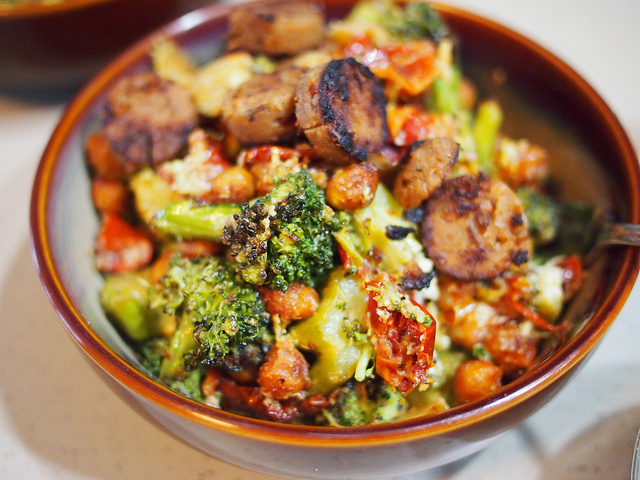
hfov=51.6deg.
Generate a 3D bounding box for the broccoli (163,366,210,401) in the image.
[{"bbox_3d":[-0.341,0.369,1.694,0.102,0.040,0.083,12,36,1],"label":"broccoli"}]

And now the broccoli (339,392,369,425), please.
[{"bbox_3d":[0.090,0.419,1.628,0.044,0.024,0.062,4,63,-2],"label":"broccoli"}]

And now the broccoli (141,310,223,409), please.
[{"bbox_3d":[-0.365,0.325,1.732,0.187,0.066,0.269,-17,73,38],"label":"broccoli"}]

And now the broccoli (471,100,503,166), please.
[{"bbox_3d":[0.500,-0.339,2.033,0.065,0.066,0.266,10,100,5],"label":"broccoli"}]

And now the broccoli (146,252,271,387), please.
[{"bbox_3d":[-0.272,0.200,1.786,0.307,0.310,0.321,37,66,0],"label":"broccoli"}]

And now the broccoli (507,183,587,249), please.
[{"bbox_3d":[0.646,-0.053,1.931,0.226,0.070,0.144,35,58,15],"label":"broccoli"}]

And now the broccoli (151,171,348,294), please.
[{"bbox_3d":[-0.185,-0.022,1.668,0.361,0.210,0.307,7,95,14],"label":"broccoli"}]

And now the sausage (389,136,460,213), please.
[{"bbox_3d":[0.265,-0.179,1.752,0.048,0.233,0.170,40,56,-31],"label":"sausage"}]

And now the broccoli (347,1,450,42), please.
[{"bbox_3d":[0.239,-0.690,2.072,0.260,0.154,0.066,24,86,49],"label":"broccoli"}]

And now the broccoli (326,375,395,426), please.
[{"bbox_3d":[0.110,0.403,1.645,0.136,0.044,0.116,-2,58,-7],"label":"broccoli"}]

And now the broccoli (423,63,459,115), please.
[{"bbox_3d":[0.364,-0.468,2.017,0.103,0.050,0.153,4,100,-24],"label":"broccoli"}]
